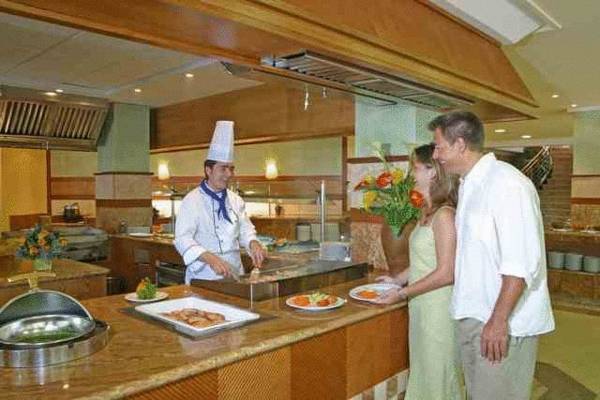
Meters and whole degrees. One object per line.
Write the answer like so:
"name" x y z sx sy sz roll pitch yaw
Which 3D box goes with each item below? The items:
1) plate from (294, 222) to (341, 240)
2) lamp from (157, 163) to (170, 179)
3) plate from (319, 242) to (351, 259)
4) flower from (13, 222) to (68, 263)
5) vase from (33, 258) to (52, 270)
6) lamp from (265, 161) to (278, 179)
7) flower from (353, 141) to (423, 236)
"plate" 0.174 0.350 4.220 0.541 0.165 0.133 -2 2 44
"lamp" -3.729 -0.781 10.511 0.353 0.438 0.086 -3 2 29
"plate" 0.361 0.501 3.820 0.340 0.139 0.236 -3 1 -27
"flower" -2.669 0.416 3.967 0.473 0.379 0.453 2 -1 -36
"vase" -2.600 0.653 3.912 0.172 0.100 0.158 2 1 -28
"lamp" -0.665 -0.687 8.961 0.444 0.360 0.389 -3 8 -4
"flower" 0.774 -0.063 3.275 0.931 0.727 0.642 0 -1 -3
